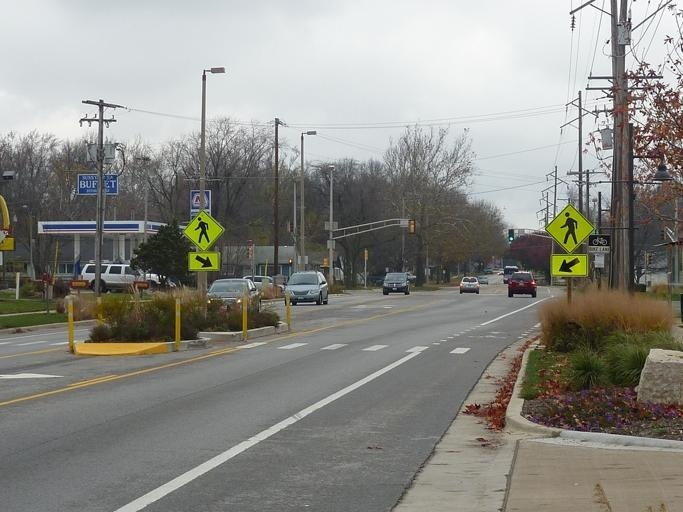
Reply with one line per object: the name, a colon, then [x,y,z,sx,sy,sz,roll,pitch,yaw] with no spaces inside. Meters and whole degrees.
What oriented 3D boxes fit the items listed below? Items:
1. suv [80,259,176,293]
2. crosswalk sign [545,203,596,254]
suv: [-13.755,1.253,55.519,6.092,2.866,2.370,0,-1,-37]
crosswalk sign: [5.801,-0.702,23.275,1.236,1.497,0.016,0,-30,9]
